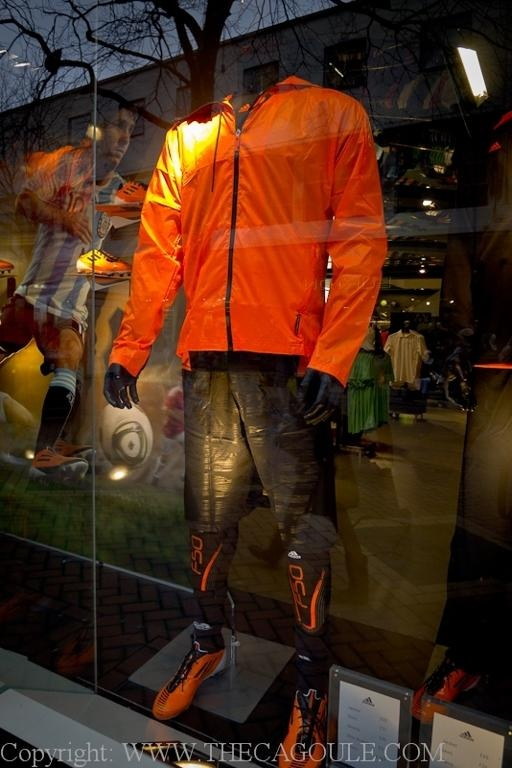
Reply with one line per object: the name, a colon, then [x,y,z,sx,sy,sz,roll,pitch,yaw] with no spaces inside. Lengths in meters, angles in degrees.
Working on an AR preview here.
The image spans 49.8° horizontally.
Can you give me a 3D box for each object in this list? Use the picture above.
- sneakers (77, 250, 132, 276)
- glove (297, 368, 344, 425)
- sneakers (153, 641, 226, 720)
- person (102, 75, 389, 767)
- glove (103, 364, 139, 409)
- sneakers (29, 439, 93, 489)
sneakers: [-0.395,-0.320,1.438,0.184,0.077,0.063,3,17,3]
glove: [0.125,0.024,1.124,0.086,0.111,0.058,5,4,8]
sneakers: [-0.169,0.727,1.413,0.073,0.087,0.220,26,37,23]
person: [-0.017,0.092,1.278,0.667,1.462,0.267,-2,-6,36]
glove: [-0.347,0.005,1.394,0.087,0.107,0.033,-5,8,-5]
sneakers: [-0.546,0.223,1.536,0.261,0.111,0.091,-6,-16,34]
